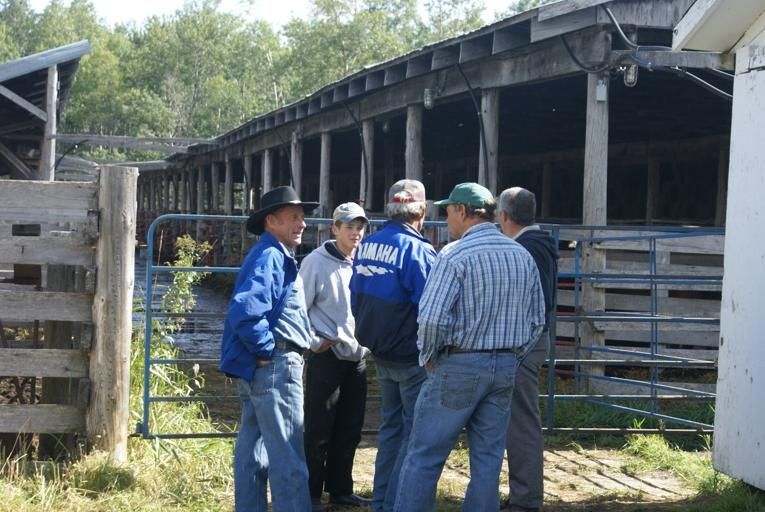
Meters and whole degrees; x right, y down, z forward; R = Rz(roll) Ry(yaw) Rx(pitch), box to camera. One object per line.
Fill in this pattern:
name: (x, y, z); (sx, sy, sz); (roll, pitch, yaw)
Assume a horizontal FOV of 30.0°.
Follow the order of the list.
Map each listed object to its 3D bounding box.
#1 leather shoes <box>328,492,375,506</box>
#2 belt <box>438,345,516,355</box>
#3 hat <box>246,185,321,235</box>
leather shoes: (-0.481, 3.389, 20.162); (0.577, 0.246, 0.215); (-1, -3, -1)
belt: (1.266, 1.242, 19.078); (0.949, 0.103, 0.135); (2, -3, -6)
hat: (-1.482, -0.700, 19.606); (0.801, 0.340, 0.681); (-25, -3, 10)
